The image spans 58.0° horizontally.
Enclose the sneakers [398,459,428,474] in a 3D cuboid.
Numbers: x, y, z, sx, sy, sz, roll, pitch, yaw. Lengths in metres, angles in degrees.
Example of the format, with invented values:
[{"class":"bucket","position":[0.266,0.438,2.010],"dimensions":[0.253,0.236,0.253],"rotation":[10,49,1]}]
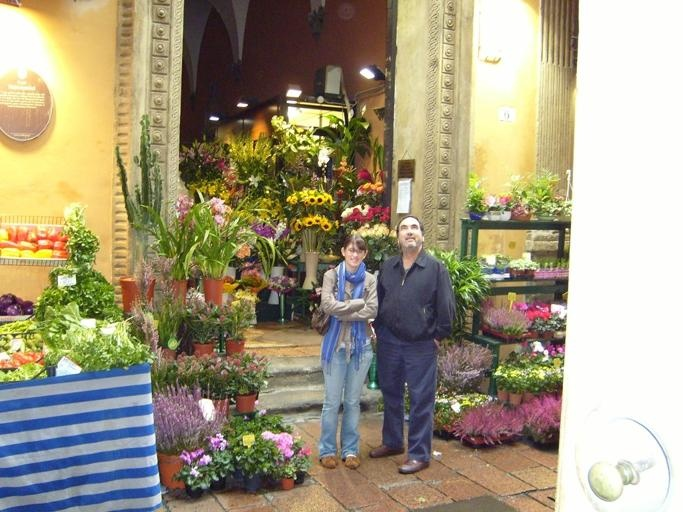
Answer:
[{"class":"sneakers","position":[0.465,1.376,4.038],"dimensions":[0.194,0.082,0.072],"rotation":[6,-6,-38]}]

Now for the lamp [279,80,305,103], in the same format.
[{"class":"lamp","position":[-0.765,-2.538,9.545],"dimensions":[0.277,0.297,0.680],"rotation":[2,7,-6]}]

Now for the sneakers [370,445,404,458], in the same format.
[{"class":"sneakers","position":[0.303,1.345,4.313],"dimensions":[0.239,0.106,0.090],"rotation":[5,-3,-17]}]

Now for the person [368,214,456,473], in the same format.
[{"class":"person","position":[0.452,0.575,4.164],"dimensions":[0.383,1.665,0.461],"rotation":[-1,8,-31]}]

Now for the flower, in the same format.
[{"class":"flower","position":[0.176,0.384,5.038],"dimensions":[1.782,2.656,0.799],"rotation":[1,-32,-12]}]

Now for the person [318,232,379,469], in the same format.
[{"class":"person","position":[0.030,0.622,4.072],"dimensions":[0.364,1.521,0.265],"rotation":[3,7,4]}]

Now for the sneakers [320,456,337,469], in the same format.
[{"class":"sneakers","position":[-0.099,1.350,4.069],"dimensions":[0.127,0.066,0.083],"rotation":[5,7,14]}]
